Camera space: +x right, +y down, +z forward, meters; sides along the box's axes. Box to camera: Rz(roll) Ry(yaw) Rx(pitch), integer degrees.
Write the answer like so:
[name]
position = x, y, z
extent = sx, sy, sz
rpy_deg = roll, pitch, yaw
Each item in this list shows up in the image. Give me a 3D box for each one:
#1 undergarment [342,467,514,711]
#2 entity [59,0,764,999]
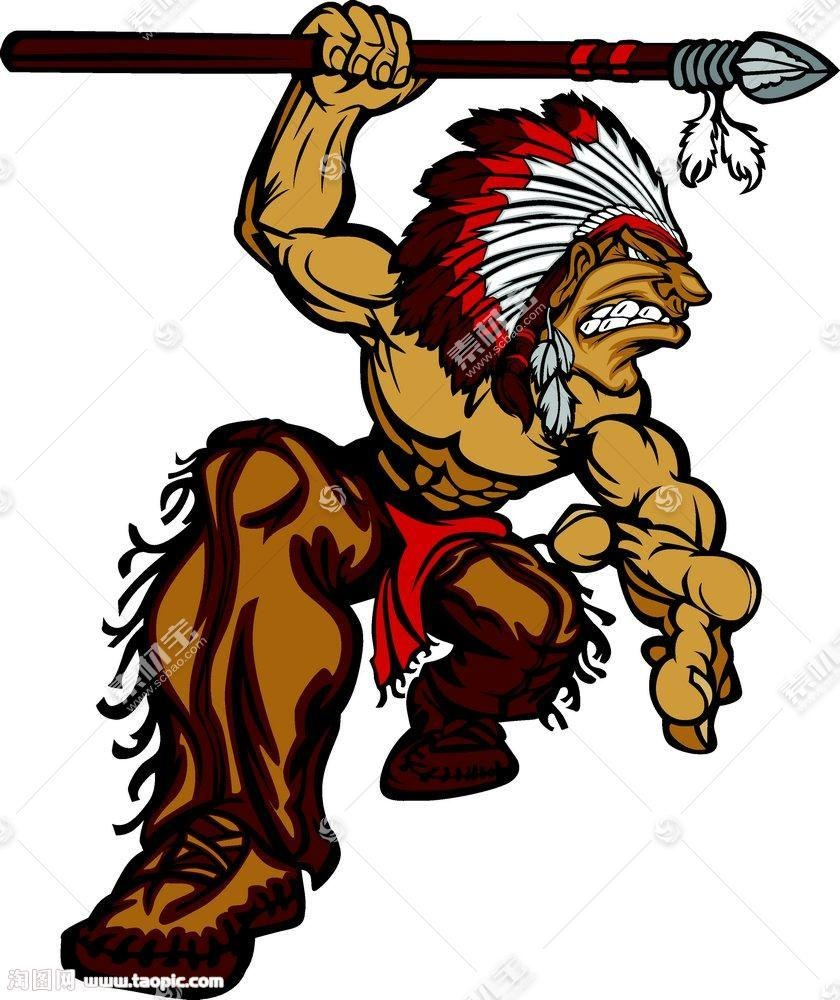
[undergarment]
position = 0.071, 0.370, 4.529
extent = 0.482, 0.694, 0.322
rpy_deg = 2, 20, 2
[entity]
position = -0.018, -0.053, 4.585
extent = 2.351, 3.262, 1.307
rpy_deg = -4, 21, -14
